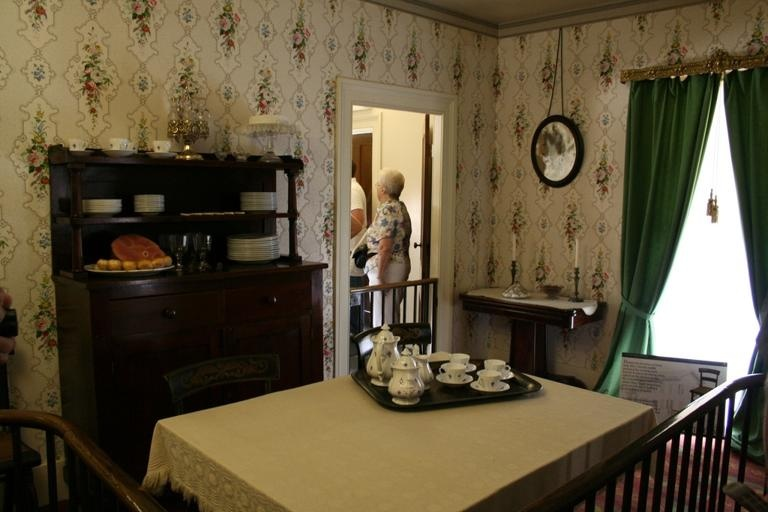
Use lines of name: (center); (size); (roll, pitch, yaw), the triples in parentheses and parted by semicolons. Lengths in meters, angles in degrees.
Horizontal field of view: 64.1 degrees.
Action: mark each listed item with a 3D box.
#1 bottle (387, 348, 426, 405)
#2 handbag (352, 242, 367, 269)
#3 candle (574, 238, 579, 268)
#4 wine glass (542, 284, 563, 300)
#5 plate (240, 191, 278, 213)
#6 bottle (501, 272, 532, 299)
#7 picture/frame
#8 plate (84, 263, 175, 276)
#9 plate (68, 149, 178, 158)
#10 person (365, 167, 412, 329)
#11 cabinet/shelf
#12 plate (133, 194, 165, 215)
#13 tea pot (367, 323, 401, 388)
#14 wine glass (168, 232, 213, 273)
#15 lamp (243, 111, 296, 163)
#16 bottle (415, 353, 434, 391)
bottle: (0.105, 0.597, 3.030); (0.146, 0.211, 0.234); (0, -1, -3)
handbag: (-0.199, -0.011, 5.415); (0.115, 0.198, 0.198); (8, 46, -1)
candle: (1.636, -0.035, 5.193); (0.044, 0.251, 0.382); (1, 7, 17)
wine glass: (1.471, 0.306, 5.352); (0.135, 0.081, 0.124); (3, 13, 8)
plate: (-0.857, -0.362, 4.179); (0.156, 0.096, 0.156); (-4, 8, -35)
bottle: (1.174, 0.257, 5.455); (0.202, 0.133, 0.206); (-1, 4, 0)
picture/frame: (1.543, -0.921, 5.393); (0.067, 0.665, 0.544); (-7, 14, -37)
plate: (-1.492, 0.080, 3.625); (0.506, 0.070, 0.180); (-6, 8, -27)
plate: (-1.549, -0.609, 3.636); (0.604, 0.067, 0.181); (-5, 8, -24)
person: (0.039, -0.046, 5.442); (0.428, 1.431, 0.441); (-2, 7, -8)
cabinet/shelf: (-1.228, 0.312, 4.077); (0.722, 1.971, 1.630); (3, 5, 42)
plate: (-1.447, -0.314, 3.790); (0.130, 0.099, 0.132); (-1, 5, -29)
tea pot: (-0.002, 0.509, 3.137); (0.187, 0.305, 0.271); (4, 12, 6)
wine glass: (-1.205, -0.035, 3.862); (0.244, 0.229, 0.242); (2, 5, 4)
lamp: (-0.751, -0.810, 4.198); (0.333, 0.289, 0.331); (-12, 20, -42)
bottle: (0.202, 0.573, 3.043); (0.130, 0.193, 0.138); (0, 4, 0)
